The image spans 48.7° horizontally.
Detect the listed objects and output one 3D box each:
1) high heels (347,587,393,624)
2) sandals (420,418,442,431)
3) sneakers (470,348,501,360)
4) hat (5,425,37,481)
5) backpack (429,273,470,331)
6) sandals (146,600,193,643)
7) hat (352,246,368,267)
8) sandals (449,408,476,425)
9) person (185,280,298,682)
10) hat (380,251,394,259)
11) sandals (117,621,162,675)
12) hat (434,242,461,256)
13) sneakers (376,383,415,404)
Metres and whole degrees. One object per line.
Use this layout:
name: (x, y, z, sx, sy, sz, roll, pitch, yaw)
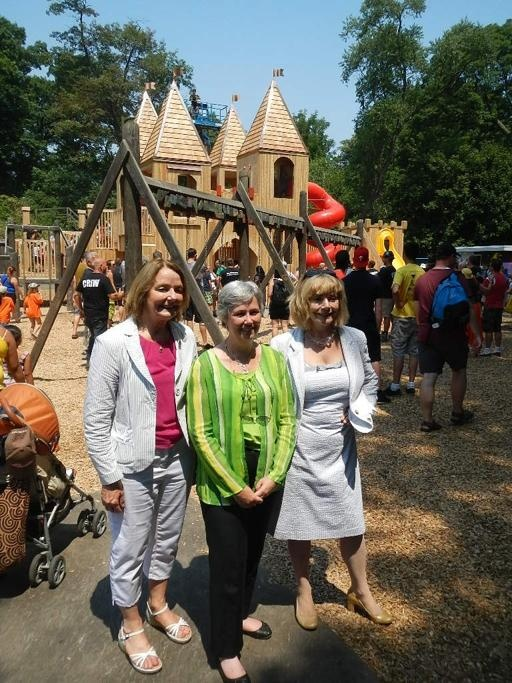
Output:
high heels: (0.568, 1.354, 2.882, 0.255, 0.118, 0.088, 4, 0, 40)
sandals: (1.839, 0.893, 5.954, 0.212, 0.136, 0.137, 2, 7, 9)
sneakers: (4.248, 0.248, 10.465, 0.155, 0.182, 0.426, -1, 9, -13)
hat: (-1.216, 0.596, 2.908, 0.152, 0.294, 0.239, -2, 7, -24)
backpack: (1.920, -0.410, 5.662, 0.408, 0.571, 0.323, -5, 14, -19)
sandals: (-0.409, 1.309, 2.665, 0.240, 0.107, 0.113, 0, 1, 35)
hat: (1.210, -0.963, 6.552, 0.155, 0.252, 0.306, 2, 7, 8)
sandals: (2.278, 0.820, 6.262, 0.330, 0.148, 0.126, -12, 16, -43)
person: (-0.079, 0.577, 2.421, 0.379, 1.652, 0.494, 6, 8, 34)
hat: (1.947, -1.289, 8.452, 0.178, 0.088, 0.133, 11, 11, 39)
sandals: (-0.491, 1.327, 2.457, 0.100, 0.117, 0.255, 5, -4, -39)
hat: (1.967, -0.938, 5.880, 0.180, 0.172, 0.350, 3, 7, 17)
sneakers: (1.801, 0.685, 7.394, 0.636, 0.279, 0.217, -1, 1, 2)
